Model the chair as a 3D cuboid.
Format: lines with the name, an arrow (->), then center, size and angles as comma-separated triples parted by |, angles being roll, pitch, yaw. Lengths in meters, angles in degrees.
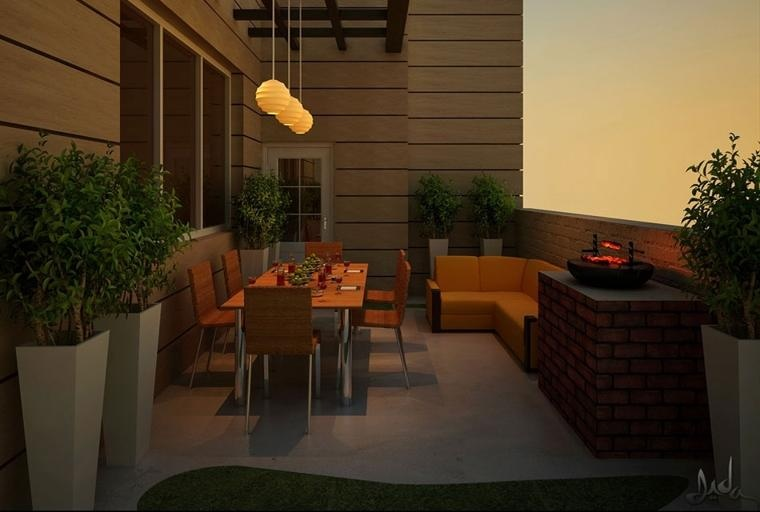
chair -> -0.618, 0.942, 5.273 | 1.627, 0.861, 2.198 | 1, 2, 5

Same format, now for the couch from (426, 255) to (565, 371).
couch -> 1.454, 0.753, 6.252 | 1.333, 0.753, 1.863 | 1, 0, 10

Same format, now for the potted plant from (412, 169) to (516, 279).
potted plant -> 1.389, -0.589, 8.400 | 1.930, 1.893, 0.915 | 0, 7, 1
